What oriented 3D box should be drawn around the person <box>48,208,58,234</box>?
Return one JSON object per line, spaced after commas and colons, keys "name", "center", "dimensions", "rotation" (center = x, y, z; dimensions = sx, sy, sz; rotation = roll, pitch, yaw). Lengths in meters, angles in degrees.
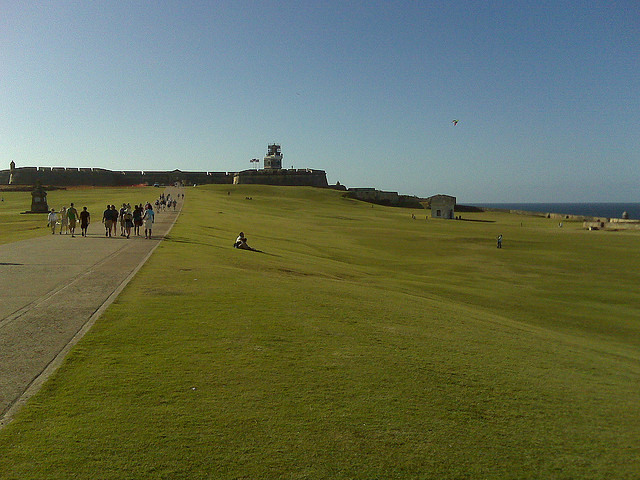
{"name": "person", "center": [-18.436, -1.157, 32.474], "dimensions": [0.401, 1.625, 1.535], "rotation": [1, 13, -28]}
